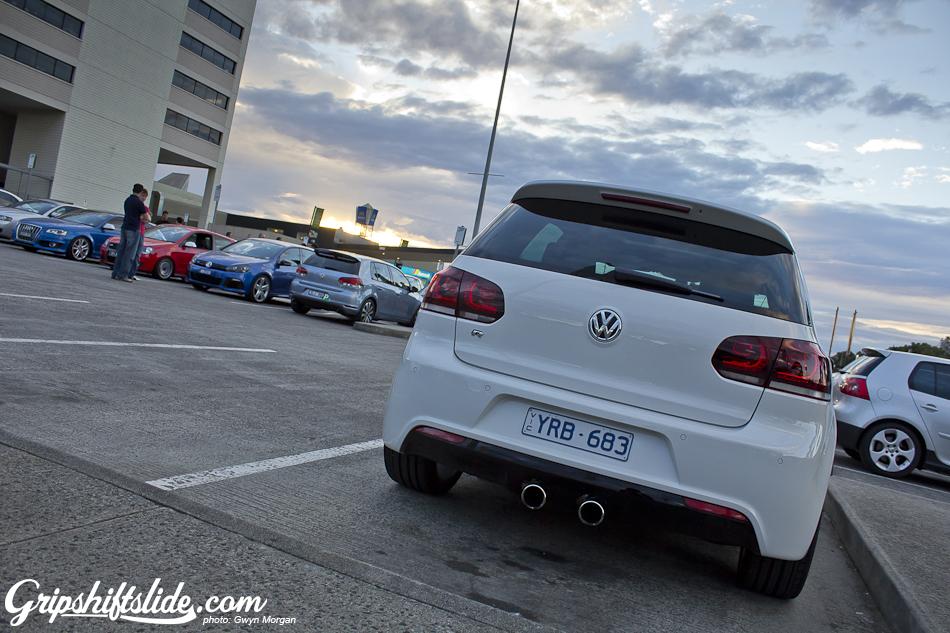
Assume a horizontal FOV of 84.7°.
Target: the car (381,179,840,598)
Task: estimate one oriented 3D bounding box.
[{"bbox_3d":[1.540,0.337,5.145,3.093,2.257,5.013,12,5,16],"label":"car"}]
